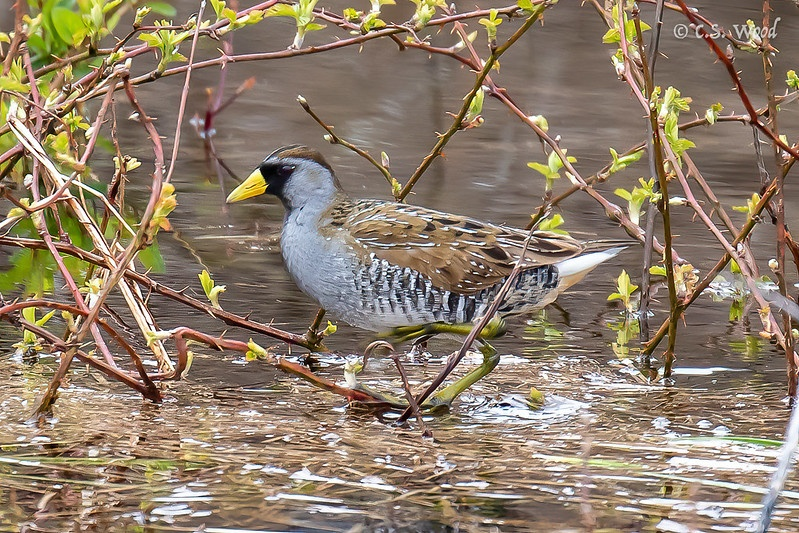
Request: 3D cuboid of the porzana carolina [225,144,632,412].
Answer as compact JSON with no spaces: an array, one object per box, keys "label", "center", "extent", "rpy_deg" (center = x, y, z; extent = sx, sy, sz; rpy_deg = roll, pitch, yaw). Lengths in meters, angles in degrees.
[{"label":"porzana carolina","center":[-0.059,-0.003,3.573],"extent":[1.466,0.991,0.843],"rpy_deg":[17,19,27]}]
